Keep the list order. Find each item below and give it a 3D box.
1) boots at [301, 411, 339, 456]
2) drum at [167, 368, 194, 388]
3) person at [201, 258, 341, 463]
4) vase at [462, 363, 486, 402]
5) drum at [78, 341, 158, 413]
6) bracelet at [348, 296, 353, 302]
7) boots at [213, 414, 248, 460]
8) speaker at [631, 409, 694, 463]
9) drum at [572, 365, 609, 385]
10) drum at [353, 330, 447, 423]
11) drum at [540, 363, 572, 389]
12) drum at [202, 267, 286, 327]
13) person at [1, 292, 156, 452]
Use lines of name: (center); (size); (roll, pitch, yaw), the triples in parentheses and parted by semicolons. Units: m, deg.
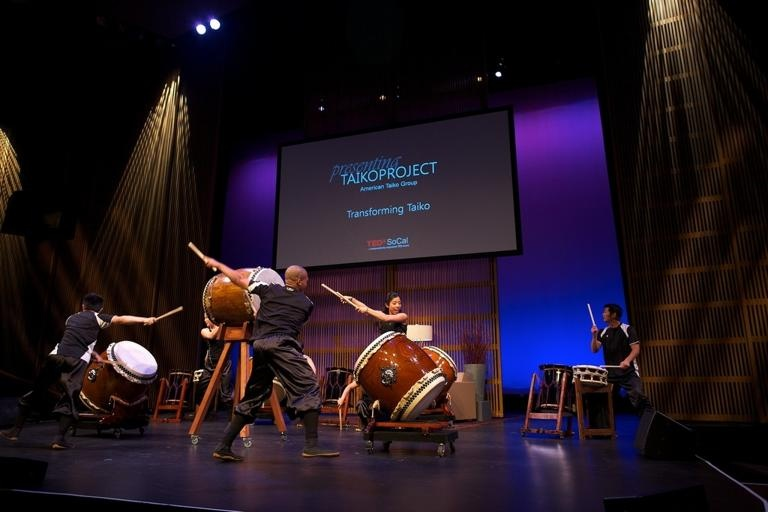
boots: (-0.675, 1.804, 5.563); (0.377, 0.507, 0.269); (6, -10, -28)
drum: (-3.647, 2.143, 9.775); (0.355, 0.295, 0.356); (-3, -10, 14)
person: (-1.080, 1.074, 5.704); (1.232, 2.005, 0.486); (1, -9, 2)
vase: (1.579, 2.169, 9.570); (0.369, 0.624, 0.510); (-1, -10, 10)
drum: (-3.515, 1.696, 7.287); (0.660, 0.698, 0.730); (35, -8, 30)
bracelet: (-0.400, 0.507, 6.584); (0.047, 0.055, 0.101); (-3, 12, 2)
boots: (-1.565, 1.824, 5.578); (0.292, 0.470, 0.413); (4, -10, -17)
speaker: (2.925, 1.898, 5.830); (0.483, 0.389, 0.510); (-1, -24, -3)
drum: (2.629, 1.477, 7.032); (0.285, 0.131, 0.295); (3, -10, 0)
drum: (0.133, 1.307, 6.175); (0.930, 0.935, 0.687); (-2, 32, -46)
drum: (2.251, 1.564, 7.240); (0.305, 0.222, 0.339); (4, -16, -1)
drum: (-1.790, 0.510, 6.969); (0.782, 0.728, 0.651); (-2, 4, 27)
person: (-4.464, 1.692, 7.860); (1.519, 2.176, 0.988); (16, -41, -19)
